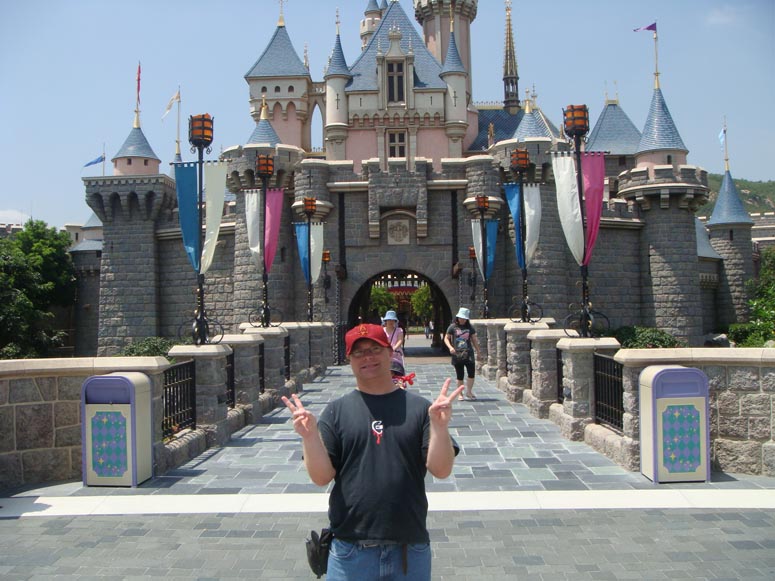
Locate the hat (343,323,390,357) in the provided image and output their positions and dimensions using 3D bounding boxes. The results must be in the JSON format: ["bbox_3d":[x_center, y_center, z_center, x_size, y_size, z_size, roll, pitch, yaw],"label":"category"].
[{"bbox_3d":[-0.188,0.436,6.896,0.345,0.289,0.595,-6,-5,-1],"label":"hat"}]
